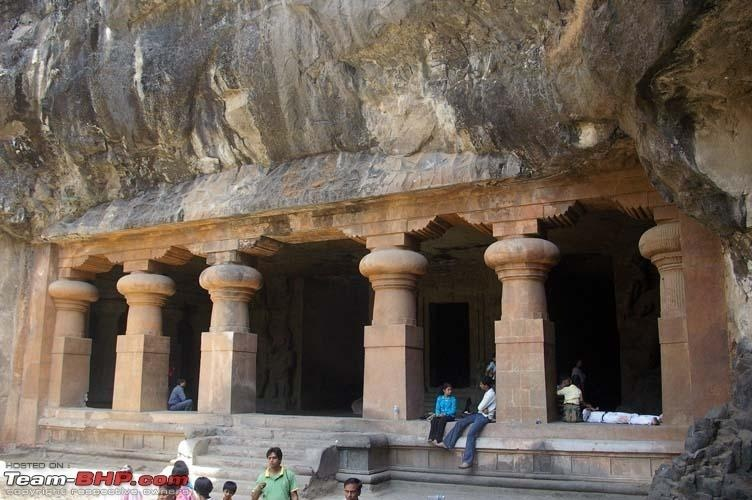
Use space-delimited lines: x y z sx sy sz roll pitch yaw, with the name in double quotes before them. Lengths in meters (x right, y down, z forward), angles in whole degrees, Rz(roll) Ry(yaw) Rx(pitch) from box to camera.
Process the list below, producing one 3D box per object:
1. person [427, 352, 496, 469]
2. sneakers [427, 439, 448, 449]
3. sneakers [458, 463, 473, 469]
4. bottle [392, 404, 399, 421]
"person" 1.543 2.702 15.341 1.459 1.665 0.976 2 -8 -18
"sneakers" 0.951 2.979 14.565 0.278 0.126 0.135 0 -16 -1
"sneakers" 1.374 3.279 14.349 0.210 0.082 0.081 6 -16 -10
"bottle" 0.345 2.578 15.041 0.094 0.235 0.045 1 -16 -4
